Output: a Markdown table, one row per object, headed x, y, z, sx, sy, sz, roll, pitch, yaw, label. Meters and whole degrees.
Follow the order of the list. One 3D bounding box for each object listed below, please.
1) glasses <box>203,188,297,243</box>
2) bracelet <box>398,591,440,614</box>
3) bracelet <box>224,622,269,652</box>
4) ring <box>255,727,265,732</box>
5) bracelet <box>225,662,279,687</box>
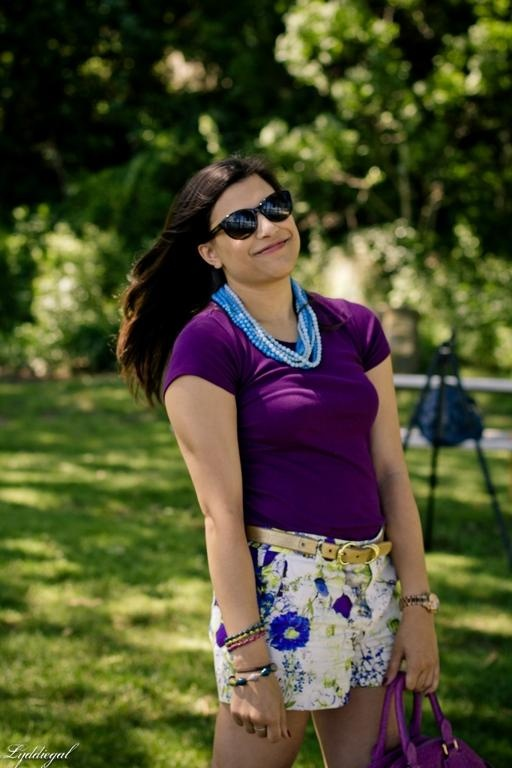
| x | y | z | sx | sy | sz | roll | pitch | yaw | label |
| --- | --- | --- | --- | --- | --- | --- | --- | --- | --- |
| 0.005 | -0.375 | 1.778 | 0.142 | 0.043 | 0.139 | -22 | -2 | -26 | glasses |
| 0.370 | 0.483 | 1.789 | 0.081 | 0.042 | 0.078 | 0 | -22 | -13 | bracelet |
| -0.019 | 0.489 | 1.540 | 0.068 | 0.024 | 0.057 | -20 | -7 | -20 | bracelet |
| 0.008 | 0.661 | 1.536 | 0.014 | 0.009 | 0.013 | 5 | -1 | 0 | ring |
| -0.010 | 0.564 | 1.547 | 0.078 | 0.056 | 0.039 | 8 | 8 | 10 | bracelet |
